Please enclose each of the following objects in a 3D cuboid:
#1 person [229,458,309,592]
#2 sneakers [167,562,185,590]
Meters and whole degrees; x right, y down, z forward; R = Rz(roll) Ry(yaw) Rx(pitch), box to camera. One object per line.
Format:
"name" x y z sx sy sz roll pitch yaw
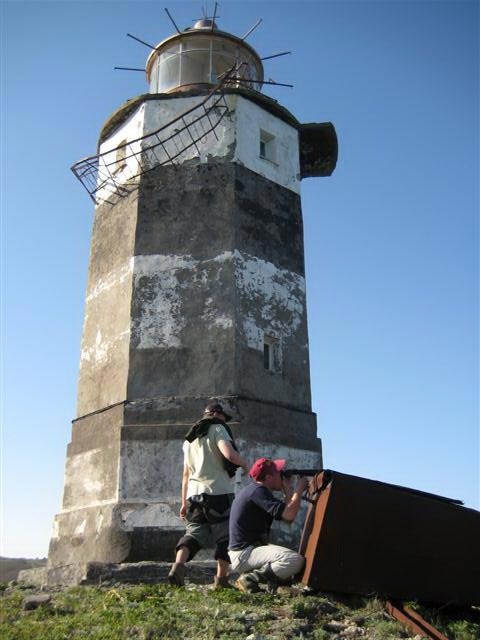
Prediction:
"person" 0.246 1.779 4.933 0.614 1.120 0.753 1 -28 2
"sneakers" -0.578 2.309 5.255 0.140 0.309 0.178 -3 13 3
